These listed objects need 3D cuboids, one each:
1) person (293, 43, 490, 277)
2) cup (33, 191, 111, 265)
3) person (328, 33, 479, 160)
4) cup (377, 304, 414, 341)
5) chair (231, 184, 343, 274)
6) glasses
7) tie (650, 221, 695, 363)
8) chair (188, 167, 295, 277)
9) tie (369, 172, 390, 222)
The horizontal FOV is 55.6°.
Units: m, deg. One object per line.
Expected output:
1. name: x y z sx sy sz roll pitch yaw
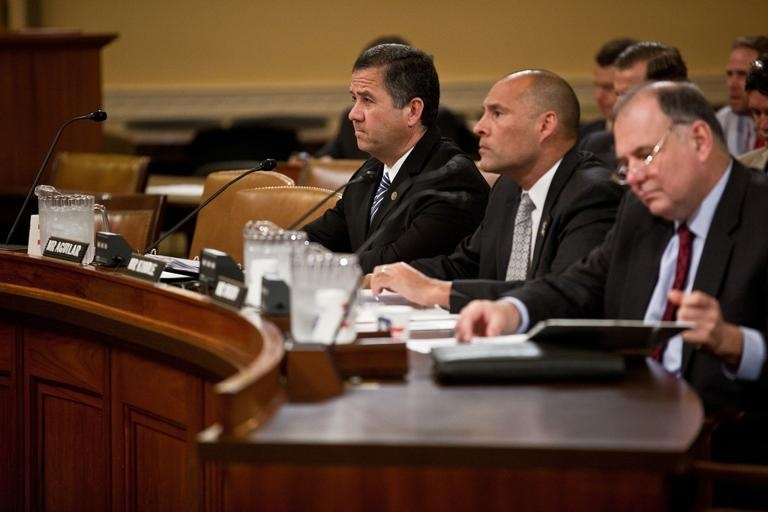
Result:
1. person: 0.015 -0.389 3.126 0.947 0.960 0.905 -3 16 -8
2. cup: -1.067 -0.086 2.559 0.177 0.280 0.291 4 6 35
3. person: 0.095 -1.441 6.030 0.870 0.505 1.169 12 8 6
4. cup: 0.020 0.152 1.663 0.078 0.059 0.077 1 -6 0
5. chair: -0.433 -0.115 3.319 0.378 0.467 0.391 2 -4 -5
6. glasses: 0.702 -0.262 1.945 0.045 0.149 0.141 42 -5 -12
7. tie: 0.759 0.105 1.914 0.049 0.389 0.044 12 -1 15
8. chair: -0.725 -0.183 3.620 0.445 0.551 0.461 15 -6 15
9. tie: -0.018 -0.246 3.084 0.036 0.224 0.056 16 -24 5
